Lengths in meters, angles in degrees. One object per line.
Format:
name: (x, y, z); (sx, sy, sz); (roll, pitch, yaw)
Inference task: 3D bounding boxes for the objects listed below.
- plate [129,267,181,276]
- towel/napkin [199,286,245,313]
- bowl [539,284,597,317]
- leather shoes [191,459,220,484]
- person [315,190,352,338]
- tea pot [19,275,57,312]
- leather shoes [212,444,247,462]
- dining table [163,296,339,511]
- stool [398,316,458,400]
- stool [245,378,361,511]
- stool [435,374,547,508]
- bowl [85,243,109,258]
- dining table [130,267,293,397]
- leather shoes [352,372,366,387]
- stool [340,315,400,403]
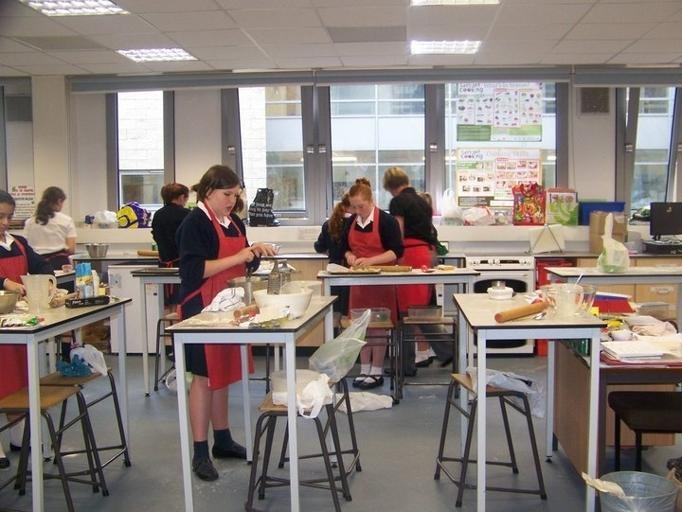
plate: (-1.711, 0.151, 5.932); (0.413, 0.066, 0.275); (-2, 8, -1)
towel/napkin: (-0.721, 0.262, 3.894); (0.190, 0.083, 0.152); (-2, 6, -6)
bowl: (1.370, 0.262, 3.800); (0.241, 0.127, 0.203); (-1, 1, -7)
leather shoes: (-0.903, 1.430, 4.229); (0.101, 0.079, 0.194); (-2, 4, -41)
person: (-0.038, 0.041, 6.772); (0.489, 1.440, 0.410); (3, 30, 2)
tea pot: (-1.955, 0.239, 4.093); (0.135, 0.244, 0.250); (6, 10, 36)
leather shoes: (-0.787, 1.398, 4.493); (0.264, 0.095, 0.094); (0, -2, -1)
dining table: (-0.479, 0.831, 4.832); (0.971, 1.230, 2.543); (-1, 8, 6)
stool: (0.782, 0.932, 6.105); (0.612, 0.764, 0.814); (1, 4, 4)
stool: (-0.210, 1.292, 4.133); (0.701, 0.860, 0.938); (1, 4, 6)
stool: (0.907, 1.178, 4.311); (0.755, 0.920, 0.880); (1, 1, -8)
bowl: (-2.799, -0.054, 7.311); (0.187, 0.098, 0.189); (0, -1, 0)
dining table: (-1.626, 0.677, 6.172); (0.932, 1.173, 0.993); (-9, -6, 14)
leather shoes: (0.164, 1.155, 5.892); (0.100, 0.078, 0.260); (0, -5, 6)
stool: (0.279, 0.950, 6.076); (0.526, 0.383, 0.589); (0, 16, 3)
